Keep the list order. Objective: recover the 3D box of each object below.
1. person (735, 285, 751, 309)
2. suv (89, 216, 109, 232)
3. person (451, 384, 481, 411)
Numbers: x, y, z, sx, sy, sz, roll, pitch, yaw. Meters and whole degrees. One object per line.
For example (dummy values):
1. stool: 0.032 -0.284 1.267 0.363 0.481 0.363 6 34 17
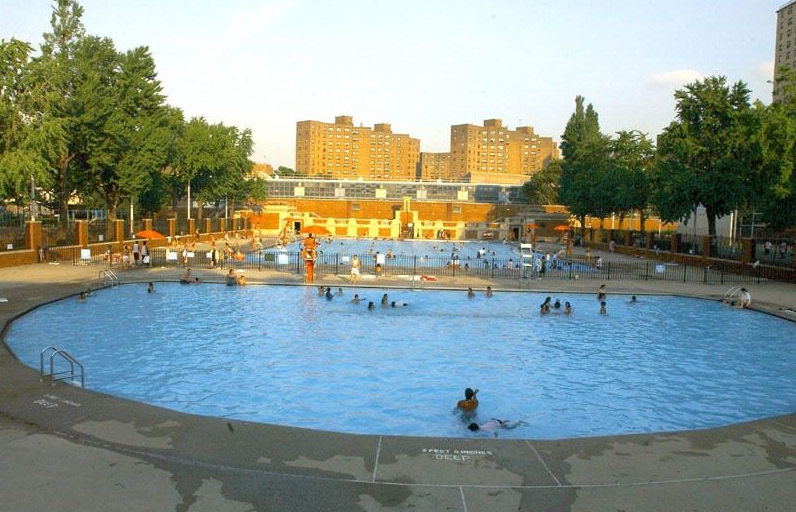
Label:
1. person: 21.782 2.599 40.474 0.681 1.257 1.233 7 8 13
2. suv: -33.741 -3.671 72.079 2.807 1.308 3.670 0 11 -12
3. person: 2.806 5.684 25.522 0.935 0.819 0.668 4 8 -12
